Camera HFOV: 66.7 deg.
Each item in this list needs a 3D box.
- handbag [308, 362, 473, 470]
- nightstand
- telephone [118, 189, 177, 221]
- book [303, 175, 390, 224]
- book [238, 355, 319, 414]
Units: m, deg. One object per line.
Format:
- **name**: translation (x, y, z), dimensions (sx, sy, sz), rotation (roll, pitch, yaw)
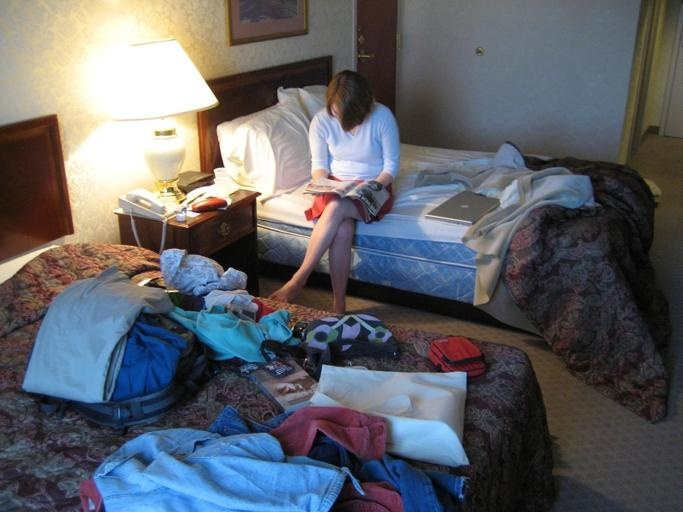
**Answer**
- **handbag**: translation (0.179, 0.409, 1.828), dimensions (0.622, 0.210, 0.541), rotation (5, 25, 11)
- **nightstand**: translation (-0.901, -0.134, 2.963), dimensions (0.574, 0.621, 0.716), rotation (13, 23, 23)
- **telephone**: translation (-1.000, -0.274, 2.685), dimensions (0.227, 0.089, 0.183), rotation (9, 27, 12)
- **book**: translation (0.084, -0.358, 2.991), dimensions (0.453, 0.154, 0.254), rotation (11, 30, 24)
- **book**: translation (-0.188, 0.446, 1.802), dimensions (0.129, 0.039, 0.193), rotation (-14, 30, -36)
